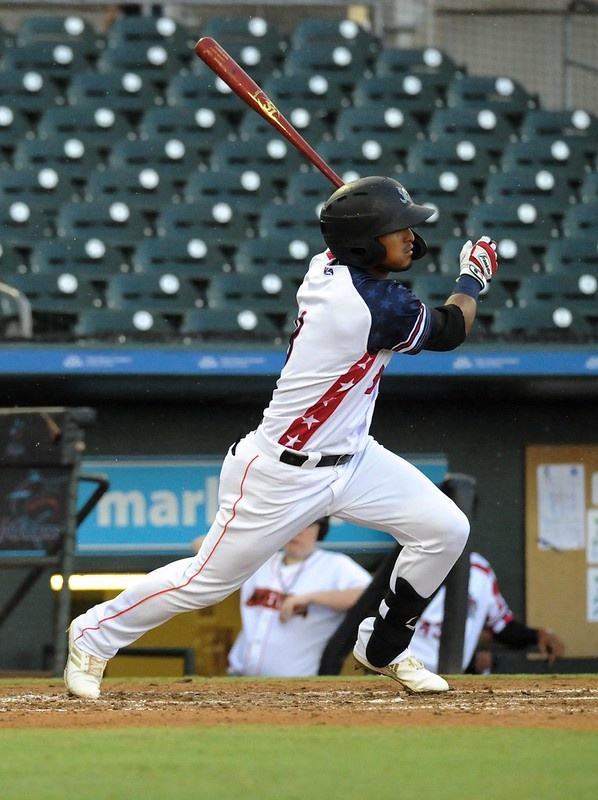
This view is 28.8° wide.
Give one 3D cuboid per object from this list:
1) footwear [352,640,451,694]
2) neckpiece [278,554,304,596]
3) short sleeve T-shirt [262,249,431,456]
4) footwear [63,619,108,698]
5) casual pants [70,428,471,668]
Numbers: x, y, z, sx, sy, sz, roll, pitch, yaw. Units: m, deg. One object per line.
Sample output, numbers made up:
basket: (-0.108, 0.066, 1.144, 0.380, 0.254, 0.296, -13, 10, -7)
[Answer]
footwear: (0.237, 0.730, 3.143, 0.319, 0.099, 0.099, 19, -2, -6)
neckpiece: (-0.046, 0.660, 4.316, 0.134, 0.103, 0.039, -10, -30, 34)
short sleeve T-shirt: (0.120, -0.109, 2.849, 0.226, 0.496, 0.345, 7, -5, -44)
footwear: (-0.551, 0.676, 3.085, 0.123, 0.211, 0.087, -16, -13, 28)
casual pants: (-0.063, 0.427, 2.977, 1.246, 0.541, 0.346, -8, -31, 42)
